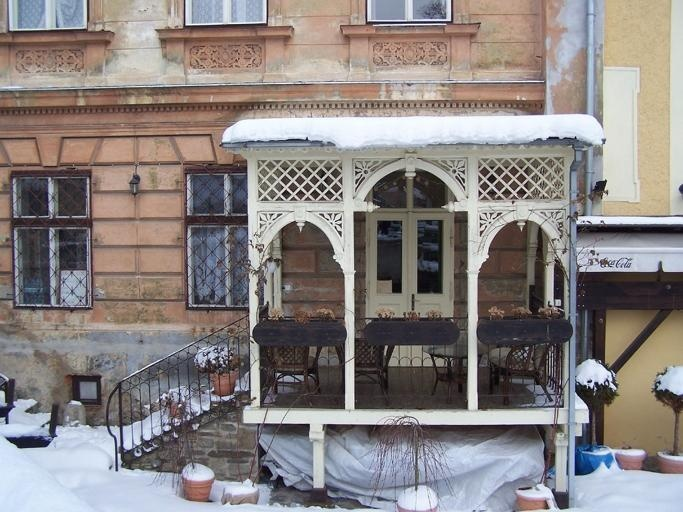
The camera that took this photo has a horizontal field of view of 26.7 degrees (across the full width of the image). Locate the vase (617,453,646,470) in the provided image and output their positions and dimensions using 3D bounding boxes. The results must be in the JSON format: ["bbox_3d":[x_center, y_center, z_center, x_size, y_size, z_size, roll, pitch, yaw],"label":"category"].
[{"bbox_3d":[4.909,3.438,24.446,0.424,0.310,0.320,2,-3,-36],"label":"vase"}]

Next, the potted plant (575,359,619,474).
[{"bbox_3d":[4.389,2.720,24.620,0.715,1.939,0.941,-1,-3,26],"label":"potted plant"}]

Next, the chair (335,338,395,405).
[{"bbox_3d":[0.412,1.858,24.711,0.987,1.210,0.924,2,-14,-2],"label":"chair"}]

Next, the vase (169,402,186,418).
[{"bbox_3d":[-2.838,2.603,24.607,0.224,0.235,0.430,1,-3,-29],"label":"vase"}]

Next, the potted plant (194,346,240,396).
[{"bbox_3d":[-2.100,1.862,25.295,0.891,1.021,0.786,1,10,12],"label":"potted plant"}]

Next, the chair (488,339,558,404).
[{"bbox_3d":[3.089,1.880,24.638,1.033,0.966,1.047,-1,-5,23],"label":"chair"}]

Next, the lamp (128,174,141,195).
[{"bbox_3d":[-3.748,-1.333,26.062,0.206,0.401,0.207,0,-2,-2],"label":"lamp"}]

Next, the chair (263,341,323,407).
[{"bbox_3d":[-0.853,1.744,24.516,0.857,1.221,0.907,3,8,6],"label":"chair"}]
